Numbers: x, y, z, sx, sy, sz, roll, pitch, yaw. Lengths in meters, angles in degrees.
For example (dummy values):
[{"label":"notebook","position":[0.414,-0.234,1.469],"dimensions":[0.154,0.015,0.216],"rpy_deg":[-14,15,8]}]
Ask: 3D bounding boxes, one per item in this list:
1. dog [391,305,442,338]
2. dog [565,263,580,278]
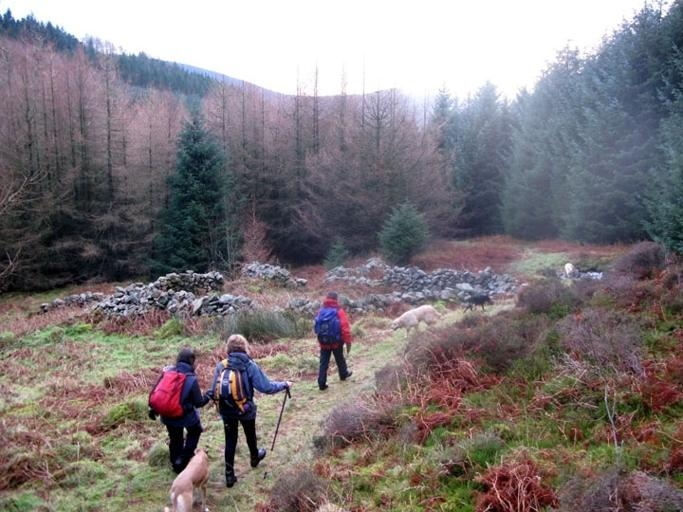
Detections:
[{"label":"dog","position":[3.021,2.585,22.992],"dimensions":[2.112,1.147,1.407],"rpy_deg":[-3,5,-12]},{"label":"dog","position":[12.642,0.835,31.003],"dimensions":[0.754,0.543,0.931],"rpy_deg":[-2,1,0]}]
